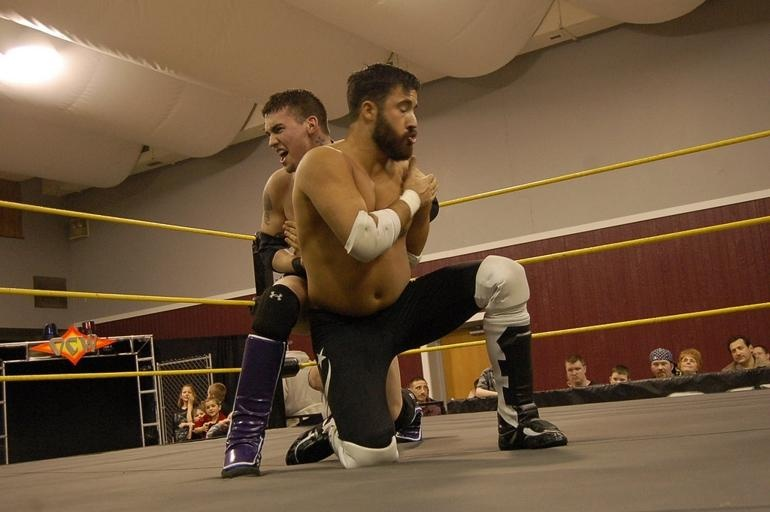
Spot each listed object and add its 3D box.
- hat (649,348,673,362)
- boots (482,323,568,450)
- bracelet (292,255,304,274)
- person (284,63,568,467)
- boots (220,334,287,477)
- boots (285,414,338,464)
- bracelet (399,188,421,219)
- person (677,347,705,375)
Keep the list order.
[{"bbox_3d":[3.165,1.131,6.619,0.192,0.100,0.227,-2,-1,17],"label":"hat"},{"bbox_3d":[0.529,0.485,2.175,0.254,0.446,0.199,-6,-13,15],"label":"boots"},{"bbox_3d":[-0.375,0.039,2.517,0.029,0.071,0.051,-19,-8,16],"label":"bracelet"},{"bbox_3d":[0.084,0.007,2.306,0.881,1.547,0.451,-1,-12,-10],"label":"person"},{"bbox_3d":[-0.499,0.554,2.217,0.247,0.512,0.225,1,-13,-16],"label":"boots"},{"bbox_3d":[-0.263,0.746,2.403,0.115,0.102,0.296,-37,-3,41],"label":"boots"},{"bbox_3d":[0.103,-0.206,2.242,0.088,0.101,0.090,-13,14,-11],"label":"bracelet"},{"bbox_3d":[3.041,1.051,5.789,0.217,0.243,0.698,-10,-14,26],"label":"person"}]
